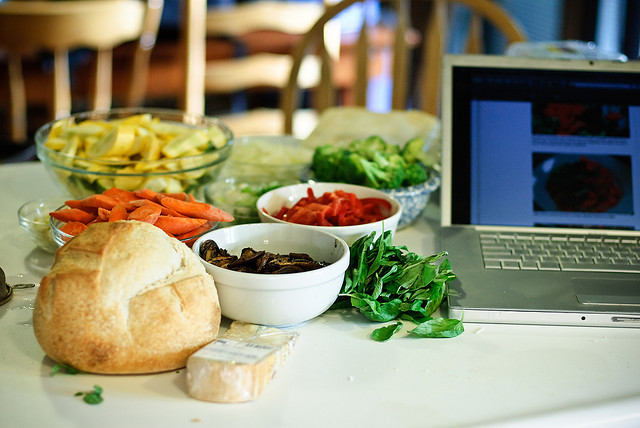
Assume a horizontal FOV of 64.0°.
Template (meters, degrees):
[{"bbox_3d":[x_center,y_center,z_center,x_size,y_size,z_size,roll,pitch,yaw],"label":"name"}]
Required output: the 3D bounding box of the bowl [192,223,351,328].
[{"bbox_3d":[-0.099,0.098,0.880,0.262,0.114,0.248,7,18,-2],"label":"bowl"}]

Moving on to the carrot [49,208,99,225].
[{"bbox_3d":[-0.427,0.003,0.897,0.056,0.014,0.030,9,17,1],"label":"carrot"}]

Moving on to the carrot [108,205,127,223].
[{"bbox_3d":[-0.335,-0.001,0.856,0.031,0.028,0.008,0,-8,-44],"label":"carrot"}]

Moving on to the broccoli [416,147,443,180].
[{"bbox_3d":[0.265,-0.121,1.243,0.071,0.052,0.077,0,-3,-25],"label":"broccoli"}]

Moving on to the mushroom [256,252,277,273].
[{"bbox_3d":[-0.084,0.075,0.841,0.013,0.015,0.054,20,42,13],"label":"mushroom"}]

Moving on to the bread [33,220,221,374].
[{"bbox_3d":[-0.270,0.099,0.816,0.240,0.157,0.247,20,9,9],"label":"bread"}]

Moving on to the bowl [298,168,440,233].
[{"bbox_3d":[0.080,-0.064,1.172,0.270,0.129,0.281,-1,12,0],"label":"bowl"}]

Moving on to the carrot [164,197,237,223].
[{"bbox_3d":[-0.213,-0.005,0.953,0.106,0.043,0.118,-3,9,-33],"label":"carrot"}]

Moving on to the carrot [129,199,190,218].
[{"bbox_3d":[-0.279,-0.009,0.877,0.052,0.015,0.048,14,-10,9],"label":"carrot"}]

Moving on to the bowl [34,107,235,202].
[{"bbox_3d":[-0.375,-0.110,1.130,0.412,0.207,0.300,10,21,20],"label":"bowl"}]

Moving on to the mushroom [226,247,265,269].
[{"bbox_3d":[-0.121,0.071,0.851,0.037,0.010,0.037,-13,2,43],"label":"mushroom"}]

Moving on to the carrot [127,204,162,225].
[{"bbox_3d":[-0.284,0.000,0.843,0.037,0.009,0.035,-4,22,1],"label":"carrot"}]

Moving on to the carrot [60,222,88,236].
[{"bbox_3d":[-0.417,0.023,0.864,0.038,0.010,0.037,6,24,3],"label":"carrot"}]
